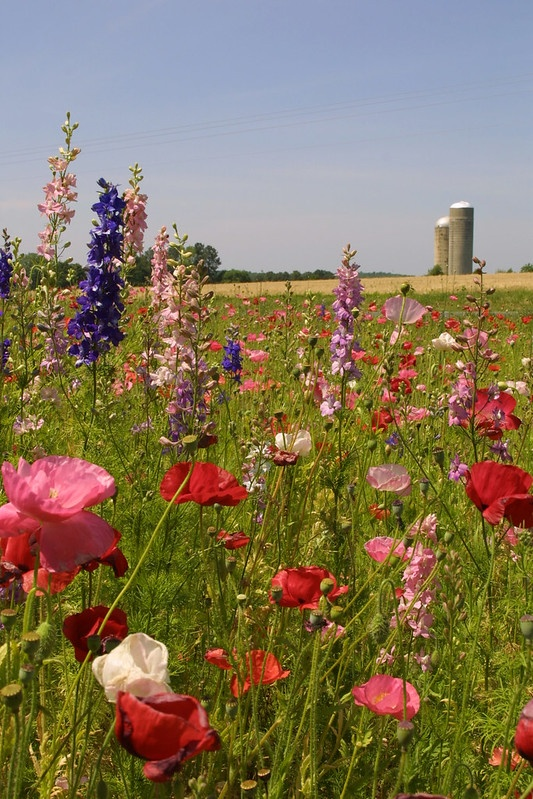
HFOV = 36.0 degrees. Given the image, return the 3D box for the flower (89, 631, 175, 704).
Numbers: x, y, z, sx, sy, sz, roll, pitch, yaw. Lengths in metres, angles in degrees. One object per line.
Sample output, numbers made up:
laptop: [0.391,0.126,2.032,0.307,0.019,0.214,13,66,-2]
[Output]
flower: [-0.225,0.446,1.373,0.118,0.115,0.141,-3,7,-20]

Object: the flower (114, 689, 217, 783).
flower: [-0.142,0.462,1.205,0.129,0.078,0.144,11,-4,1]

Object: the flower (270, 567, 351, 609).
flower: [0.080,0.424,1.849,0.133,0.076,0.147,-1,-4,8]
